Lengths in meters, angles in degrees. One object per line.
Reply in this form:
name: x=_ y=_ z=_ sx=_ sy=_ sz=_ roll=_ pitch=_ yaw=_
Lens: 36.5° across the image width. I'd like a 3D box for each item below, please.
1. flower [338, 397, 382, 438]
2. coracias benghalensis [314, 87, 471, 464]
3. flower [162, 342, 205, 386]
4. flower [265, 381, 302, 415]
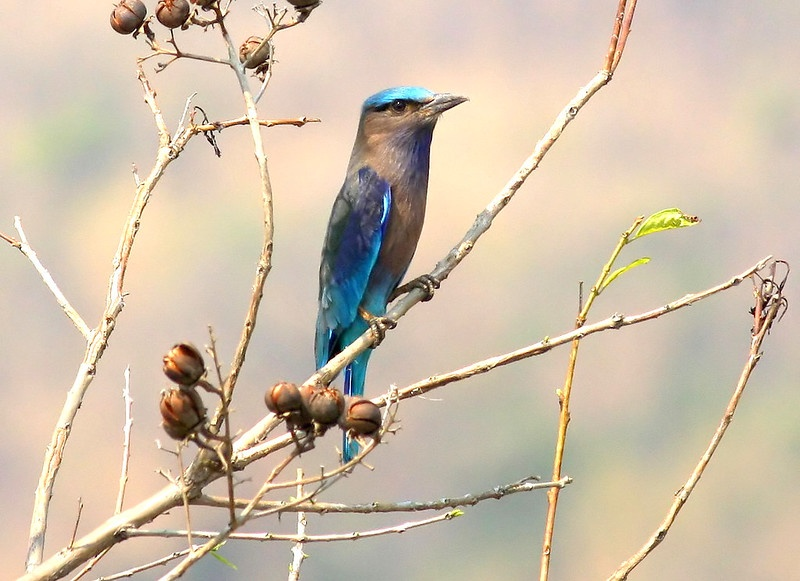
flower: x=-0.136 y=0.425 z=4.117 sx=0.146 sy=0.131 sz=0.124 roll=-1 pitch=-57 yaw=-1
coracias benghalensis: x=-0.102 y=-0.038 z=6.836 sx=0.988 sy=0.496 sz=2.290 roll=4 pitch=-73 yaw=24
flower: x=-0.713 y=0.241 z=3.966 sx=0.125 sy=0.084 sz=0.166 roll=-8 pitch=-59 yaw=3
flower: x=-0.394 y=0.346 z=4.081 sx=0.118 sy=0.065 sz=0.115 roll=-14 pitch=-59 yaw=7
